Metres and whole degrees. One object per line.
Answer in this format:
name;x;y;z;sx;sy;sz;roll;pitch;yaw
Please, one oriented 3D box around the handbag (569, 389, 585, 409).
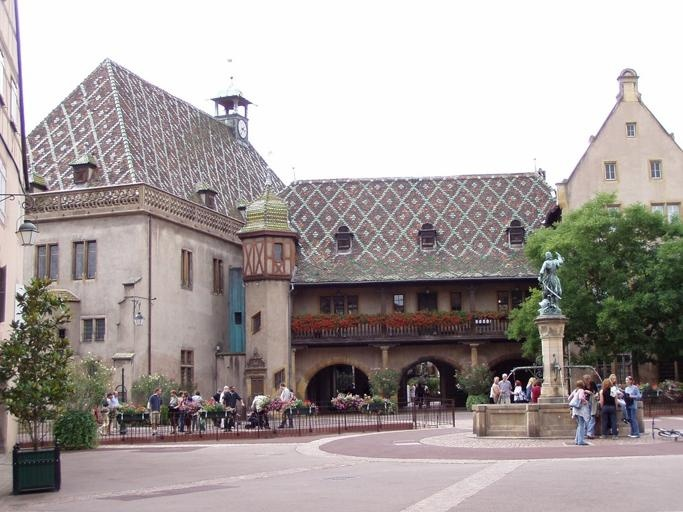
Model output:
handbag;7.164;4.319;35.100;0.536;0.609;0.327;-10;-15;34
